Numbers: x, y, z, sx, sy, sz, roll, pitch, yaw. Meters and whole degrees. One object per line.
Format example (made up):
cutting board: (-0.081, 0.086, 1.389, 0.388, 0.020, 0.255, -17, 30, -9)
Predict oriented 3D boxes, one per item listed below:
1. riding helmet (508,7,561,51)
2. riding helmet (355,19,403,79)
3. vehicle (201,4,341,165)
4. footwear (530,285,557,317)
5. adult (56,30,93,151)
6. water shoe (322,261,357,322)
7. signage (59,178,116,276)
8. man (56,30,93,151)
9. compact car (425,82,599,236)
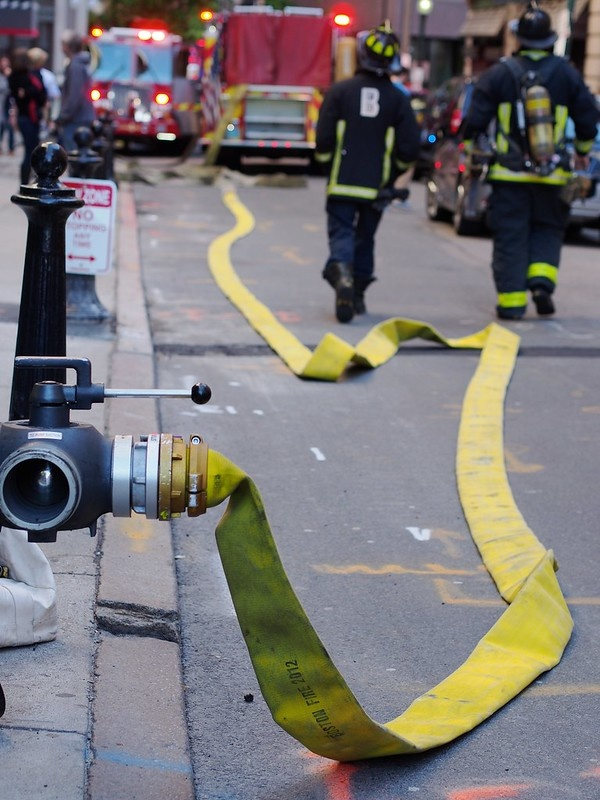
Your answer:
riding helmet: (1.767, -2.813, 8.342, 0.314, 0.354, 0.325, 4, 13, -10)
riding helmet: (0.598, -2.686, 8.470, 0.295, 0.418, 0.441, 6, 13, -1)
vehicle: (-0.573, -5.830, 20.171, 3.142, 2.526, 4.494, 1, 13, -2)
footwear: (1.852, -0.711, 8.399, 0.123, 0.293, 0.126, -7, 43, 19)
adult: (-2.712, -3.757, 13.459, 0.436, 1.353, 0.516, 4, 14, -13)
water shoe: (0.200, -0.808, 8.063, 0.191, 0.466, 0.355, -7, 4, -13)
signage: (-1.337, -1.088, 6.959, 0.325, 0.601, 0.192, 8, 14, 5)
man: (-2.715, -3.759, 13.469, 0.436, 1.353, 0.537, 4, 14, -13)
compact car: (2.631, -2.702, 12.703, 2.050, 1.577, 3.305, 0, 19, -1)
